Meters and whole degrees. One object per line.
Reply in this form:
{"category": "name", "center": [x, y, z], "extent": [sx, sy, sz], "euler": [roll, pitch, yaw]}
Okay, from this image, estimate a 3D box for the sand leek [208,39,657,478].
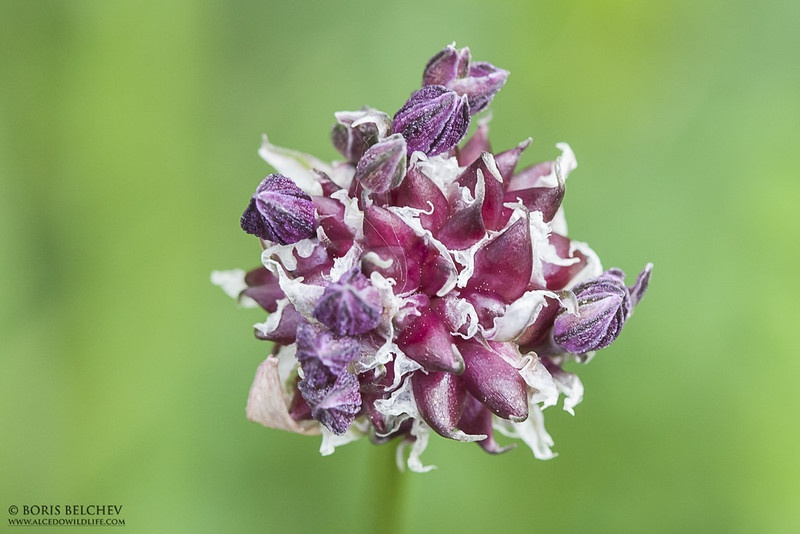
{"category": "sand leek", "center": [0.082, -0.022, 2.348], "extent": [1.066, 1.206, 0.541], "euler": [-1, -5, -12]}
